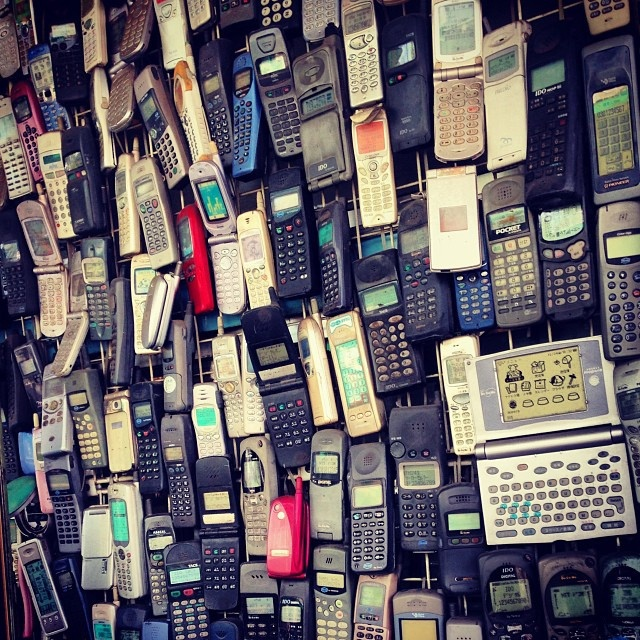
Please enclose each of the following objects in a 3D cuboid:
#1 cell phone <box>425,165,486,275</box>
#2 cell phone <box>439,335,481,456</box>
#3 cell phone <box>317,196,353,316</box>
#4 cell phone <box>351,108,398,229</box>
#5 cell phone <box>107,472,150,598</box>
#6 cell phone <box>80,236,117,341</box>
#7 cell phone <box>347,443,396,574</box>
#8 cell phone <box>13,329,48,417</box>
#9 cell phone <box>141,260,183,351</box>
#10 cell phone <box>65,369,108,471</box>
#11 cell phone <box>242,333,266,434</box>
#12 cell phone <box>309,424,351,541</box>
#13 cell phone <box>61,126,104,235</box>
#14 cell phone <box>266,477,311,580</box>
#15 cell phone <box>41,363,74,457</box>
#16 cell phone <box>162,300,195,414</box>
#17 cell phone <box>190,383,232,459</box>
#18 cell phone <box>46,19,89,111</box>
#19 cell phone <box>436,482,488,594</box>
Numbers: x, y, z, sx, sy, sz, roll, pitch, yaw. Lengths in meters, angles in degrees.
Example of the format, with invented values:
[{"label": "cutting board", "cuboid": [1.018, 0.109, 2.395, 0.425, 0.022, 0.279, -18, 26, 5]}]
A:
[{"label": "cell phone", "cuboid": [0.368, -0.290, 2.097, 0.134, 0.033, 0.342, -3, -49, 10]}, {"label": "cell phone", "cuboid": [0.378, 0.210, 2.082, 0.100, 0.332, 0.042, -8, -8, 40]}, {"label": "cell phone", "cuboid": [0.041, -0.189, 2.268, 0.097, 0.345, 0.069, -7, -7, 10]}, {"label": "cell phone", "cuboid": [0.161, -0.457, 2.262, 0.109, 0.406, 0.038, -4, -18, -4]}, {"label": "cell phone", "cuboid": [-0.647, 0.743, 2.536, 0.117, 0.374, 0.105, -4, -7, -12]}, {"label": "cell phone", "cuboid": [-0.821, -0.109, 2.770, 0.089, 0.395, 0.067, -4, -11, -21]}, {"label": "cell phone", "cuboid": [0.126, 0.536, 2.141, 0.122, 0.410, 0.038, -3, 14, -9]}, {"label": "cell phone", "cuboid": [-1.097, 0.228, 2.886, 0.067, 0.340, 0.067, -17, 37, -21]}, {"label": "cell phone", "cuboid": [-0.530, -0.048, 2.524, 0.146, 0.291, 0.094, -4, -7, -17]}, {"label": "cell phone", "cuboid": [-0.843, 0.365, 2.681, 0.106, 0.346, 0.085, -9, -29, -23]}, {"label": "cell phone", "cuboid": [-0.198, 0.205, 2.355, 0.061, 0.338, 0.032, 0, 26, -10]}, {"label": "cell phone", "cuboid": [0.018, 0.477, 2.228, 0.103, 0.364, 0.059, 4, 21, 7]}, {"label": "cell phone", "cuboid": [-0.879, -0.520, 2.805, 0.146, 0.401, 0.103, -3, -7, -20]}, {"label": "cell phone", "cuboid": [-0.100, 0.610, 2.180, 0.111, 0.276, 0.070, -6, -14, 23]}, {"label": "cell phone", "cuboid": [-0.965, 0.326, 2.702, 0.092, 0.333, 0.063, -11, 29, -44]}, {"label": "cell phone", "cuboid": [-0.478, 0.120, 2.545, 0.085, 0.380, 0.098, 0, 1, 7]}, {"label": "cell phone", "cuboid": [-0.365, 0.327, 2.453, 0.096, 0.325, 0.034, -3, 34, -3]}, {"label": "cell phone", "cuboid": [-0.951, -0.988, 2.874, 0.122, 0.081, 0.350, -1, -49, -13]}, {"label": "cell phone", "cuboid": [0.382, 0.580, 2.024, 0.127, 0.370, 0.062, -5, 27, 6]}]
